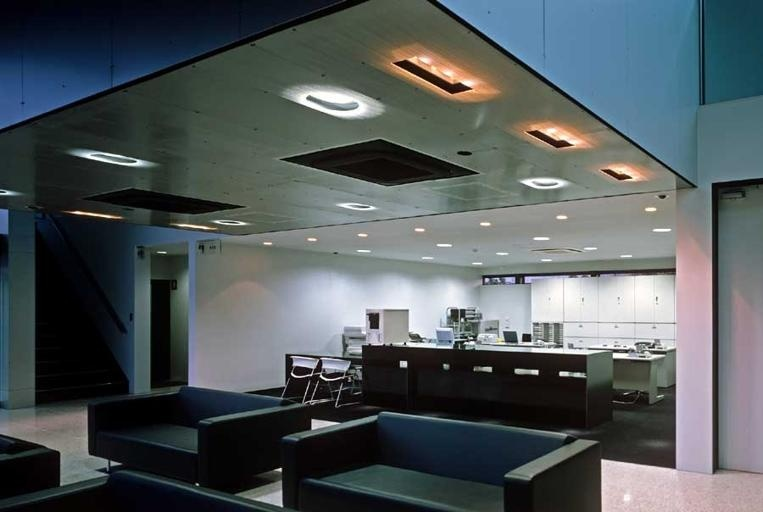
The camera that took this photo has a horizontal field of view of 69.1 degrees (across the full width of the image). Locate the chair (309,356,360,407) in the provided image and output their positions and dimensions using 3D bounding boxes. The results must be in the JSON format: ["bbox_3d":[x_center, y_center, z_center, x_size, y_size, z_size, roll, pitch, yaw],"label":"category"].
[{"bbox_3d":[-1.007,2.740,12.478,0.861,1.075,1.342,0,-1,26],"label":"chair"}]

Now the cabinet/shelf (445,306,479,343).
[{"bbox_3d":[2.795,2.375,18.723,0.790,1.331,1.478,-7,-8,41],"label":"cabinet/shelf"}]
